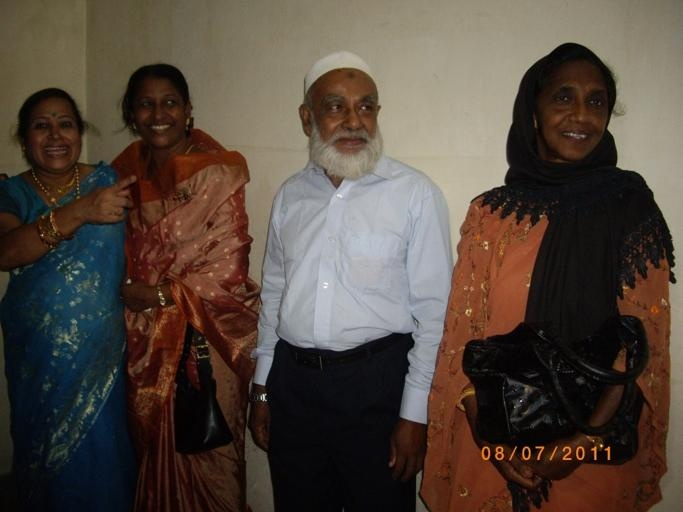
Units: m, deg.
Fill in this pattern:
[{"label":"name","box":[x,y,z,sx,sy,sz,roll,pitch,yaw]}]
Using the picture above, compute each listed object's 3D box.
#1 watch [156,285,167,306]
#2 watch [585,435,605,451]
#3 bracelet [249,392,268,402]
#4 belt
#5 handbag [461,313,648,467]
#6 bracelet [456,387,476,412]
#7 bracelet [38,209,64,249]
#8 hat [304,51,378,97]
[{"label":"watch","box":[-0.936,0.211,3.184,0.020,0.077,0.075,-13,15,-14]},{"label":"watch","box":[1.014,0.747,2.441,0.070,0.055,0.028,14,21,28]},{"label":"bracelet","box":[-0.410,0.710,3.060,0.071,0.052,0.075,5,-9,-34]},{"label":"belt","box":[0.040,0.446,2.866,0.562,0.154,0.127,0,7,3]},{"label":"handbag","box":[0.869,0.546,2.727,0.704,0.750,0.489,4,-4,9]},{"label":"bracelet","box":[0.555,0.631,2.767,0.082,0.094,0.111,13,53,11]},{"label":"bracelet","box":[-1.489,-0.133,3.173,0.104,0.176,0.136,11,26,0]},{"label":"hat","box":[-0.029,-0.909,2.990,0.235,0.099,0.240,-22,19,-12]}]
